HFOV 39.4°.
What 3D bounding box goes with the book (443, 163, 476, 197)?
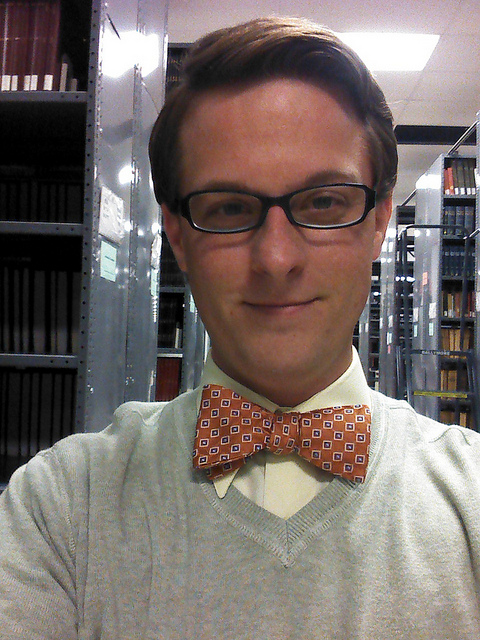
[{"bbox_3d":[1.379,-0.868,4.242,0.161,0.280,0.252,0,4,6],"label":"book"}]
